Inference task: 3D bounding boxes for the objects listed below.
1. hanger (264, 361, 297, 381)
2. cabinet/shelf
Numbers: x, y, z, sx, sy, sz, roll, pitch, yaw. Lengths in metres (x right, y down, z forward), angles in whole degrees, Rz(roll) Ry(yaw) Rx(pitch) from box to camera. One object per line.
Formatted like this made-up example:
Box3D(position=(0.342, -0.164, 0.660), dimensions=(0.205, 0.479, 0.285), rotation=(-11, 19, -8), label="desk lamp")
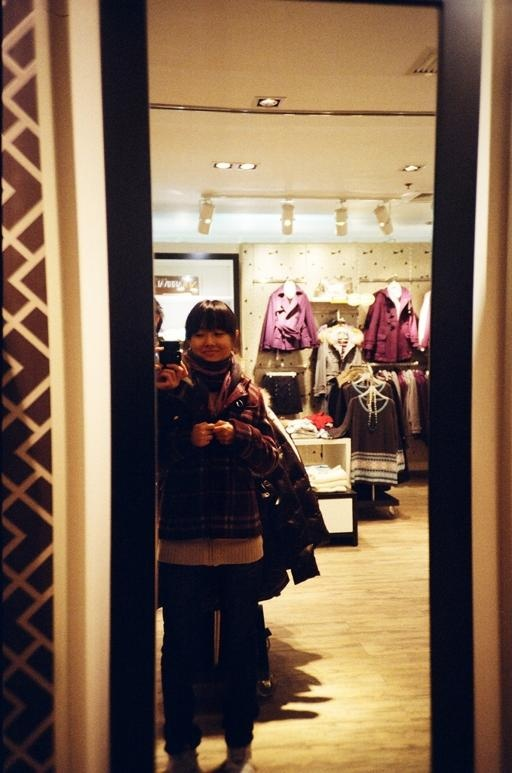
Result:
Box3D(position=(0.199, -0.128, 5.355), dimensions=(0.180, 0.170, 0.044), rotation=(1, -12, -3), label="hanger")
Box3D(position=(0.353, 0.504, 3.280), dimensions=(0.207, 0.238, 0.711), rotation=(-1, 22, -5), label="cabinet/shelf")
